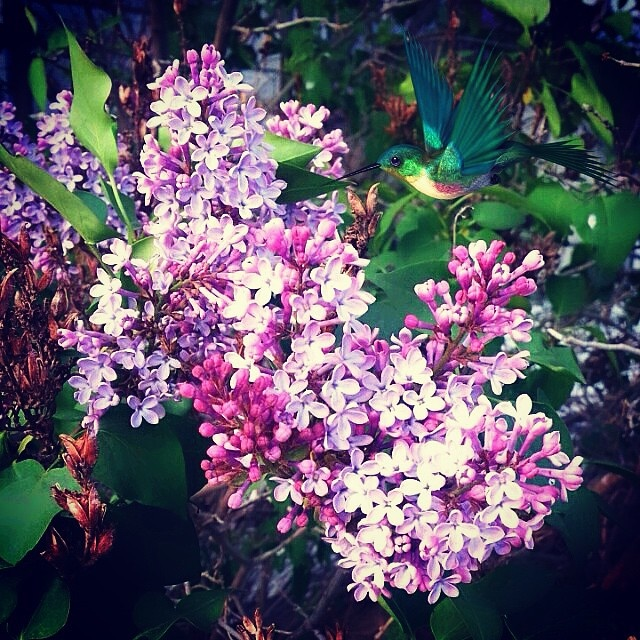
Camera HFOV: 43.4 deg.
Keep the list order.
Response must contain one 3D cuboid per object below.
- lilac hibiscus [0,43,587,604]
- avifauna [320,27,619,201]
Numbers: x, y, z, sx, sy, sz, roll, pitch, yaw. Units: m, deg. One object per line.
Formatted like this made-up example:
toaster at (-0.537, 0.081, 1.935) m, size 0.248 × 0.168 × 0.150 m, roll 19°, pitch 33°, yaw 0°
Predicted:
lilac hibiscus at (-0.004, 0.045, 1.906) m, size 1.086 × 0.809 × 1.027 m, roll 16°, pitch 74°, yaw 7°
avifauna at (0.405, -0.461, 1.892) m, size 0.531 × 0.623 × 0.338 m, roll -9°, pitch 105°, yaw 6°
